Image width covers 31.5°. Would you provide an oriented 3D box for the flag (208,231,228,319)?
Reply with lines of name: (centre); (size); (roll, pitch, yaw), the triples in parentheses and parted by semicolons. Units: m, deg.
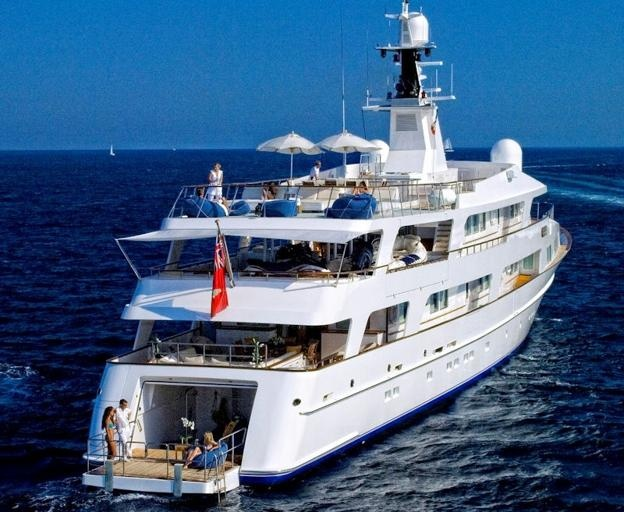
flag: (-2.728, 0.579, 31.758); (0.673, 2.271, 1.269); (-7, 14, -2)
